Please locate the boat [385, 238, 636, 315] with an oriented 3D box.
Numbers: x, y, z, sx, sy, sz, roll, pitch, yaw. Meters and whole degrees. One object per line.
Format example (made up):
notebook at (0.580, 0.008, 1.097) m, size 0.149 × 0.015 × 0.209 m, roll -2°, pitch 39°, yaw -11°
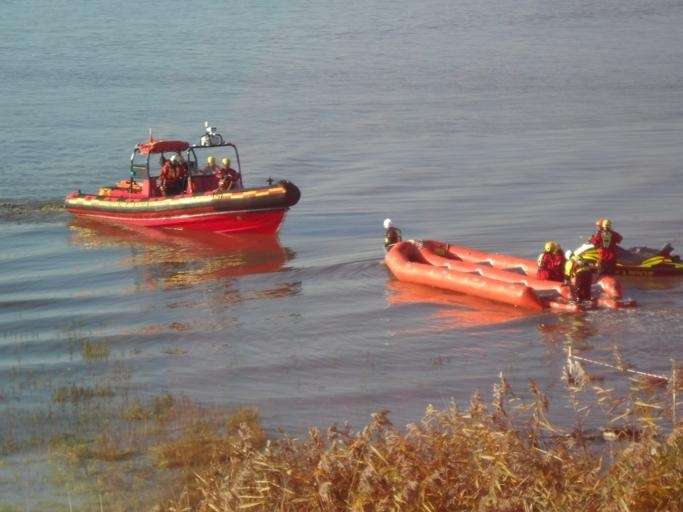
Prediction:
boat at (5.138, 0.919, 48.999) m, size 9.135 × 2.209 × 5.066 m, roll 5°, pitch 12°, yaw 33°
